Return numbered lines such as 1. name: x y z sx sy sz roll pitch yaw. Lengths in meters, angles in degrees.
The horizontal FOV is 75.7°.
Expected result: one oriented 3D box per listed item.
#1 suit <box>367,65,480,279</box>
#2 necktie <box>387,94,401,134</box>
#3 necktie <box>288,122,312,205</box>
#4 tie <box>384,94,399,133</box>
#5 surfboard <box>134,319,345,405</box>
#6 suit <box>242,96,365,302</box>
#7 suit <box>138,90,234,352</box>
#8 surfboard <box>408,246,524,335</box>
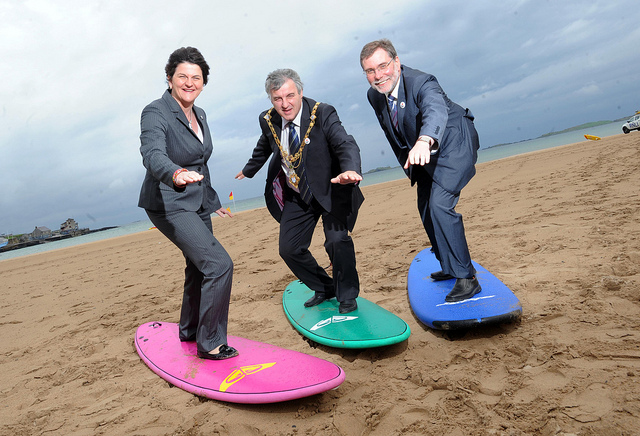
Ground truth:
1. suit: 1.193 -0.617 4.974 1.140 2.944 1.856 -7 10 19
2. necktie: 0.862 -1.307 5.145 0.054 0.525 0.089 -7 -22 -39
3. necktie: -0.280 -0.668 5.061 0.162 1.010 0.142 -10 8 0
4. tie: 0.848 -1.281 5.127 0.088 0.542 0.109 12 -19 -15
5. surfboard: -1.023 1.632 4.680 2.663 0.486 0.973 -4 10 42
6. suit: -0.076 -0.175 5.183 1.684 2.611 0.645 -5 10 36
7. suit: -1.350 0.043 4.398 0.816 2.013 0.925 -13 8 -20
8. surfboard: 1.653 0.973 5.290 1.181 0.481 1.547 -9 7 9
